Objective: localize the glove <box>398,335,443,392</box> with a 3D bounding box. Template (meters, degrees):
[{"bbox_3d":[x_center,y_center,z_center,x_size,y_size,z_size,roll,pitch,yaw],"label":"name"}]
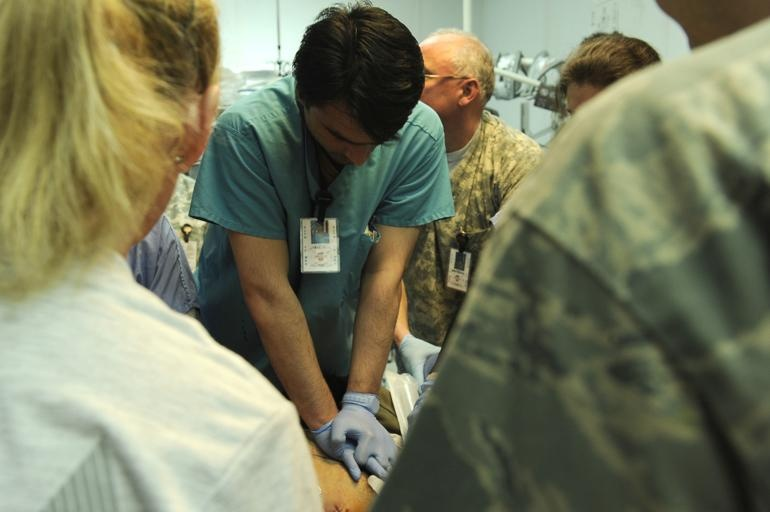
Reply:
[{"bbox_3d":[0.113,0.358,2.319,0.062,0.078,0.269,-6,10,-3],"label":"glove"}]
